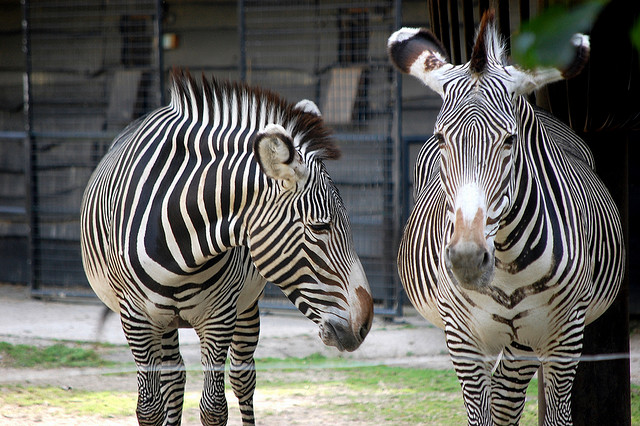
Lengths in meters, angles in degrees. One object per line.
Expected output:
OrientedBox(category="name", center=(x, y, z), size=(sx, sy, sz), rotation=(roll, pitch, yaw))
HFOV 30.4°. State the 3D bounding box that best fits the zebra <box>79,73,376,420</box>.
OrientedBox(category="zebra", center=(-0.801, 0.360, 9.866), size=(2.420, 2.883, 0.791), rotation=(5, -1, 15))
